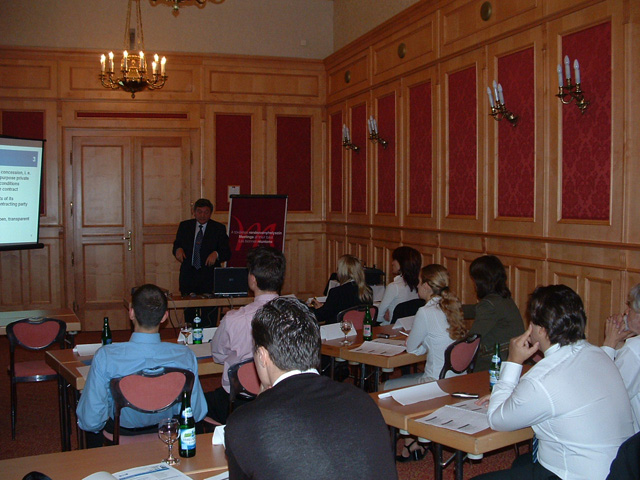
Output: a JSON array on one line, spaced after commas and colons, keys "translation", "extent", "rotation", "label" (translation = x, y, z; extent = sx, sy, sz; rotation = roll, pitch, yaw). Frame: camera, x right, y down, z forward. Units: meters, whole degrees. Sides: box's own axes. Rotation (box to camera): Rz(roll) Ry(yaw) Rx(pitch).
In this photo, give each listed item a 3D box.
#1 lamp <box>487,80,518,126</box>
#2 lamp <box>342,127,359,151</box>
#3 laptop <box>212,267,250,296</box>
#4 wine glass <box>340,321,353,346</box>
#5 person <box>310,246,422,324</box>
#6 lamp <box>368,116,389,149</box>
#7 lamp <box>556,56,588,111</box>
[{"translation": [1.884, -1.426, 5.417], "extent": [0.294, 0.490, 0.446], "rotation": [-1, 0, 19], "label": "lamp"}, {"translation": [0.463, -1.631, 8.443], "extent": [0.251, 0.385, 0.417], "rotation": [-1, -1, -14], "label": "lamp"}, {"translation": [-1.002, 0.464, 6.065], "extent": [0.383, 0.402, 0.294], "rotation": [1, 16, -14], "label": "laptop"}, {"translation": [0.223, 0.783, 4.507], "extent": [0.128, 0.236, 0.132], "rotation": [-1, 6, -12], "label": "wine glass"}, {"translation": [0.508, 0.439, 5.456], "extent": [0.731, 1.165, 0.886], "rotation": [-5, 8, -40], "label": "person"}, {"translation": [0.856, -1.596, 7.709], "extent": [0.277, 0.452, 0.428], "rotation": [-1, 0, 1], "label": "lamp"}, {"translation": [2.204, -1.397, 4.611], "extent": [0.245, 0.553, 0.485], "rotation": [-1, 0, 25], "label": "lamp"}]
